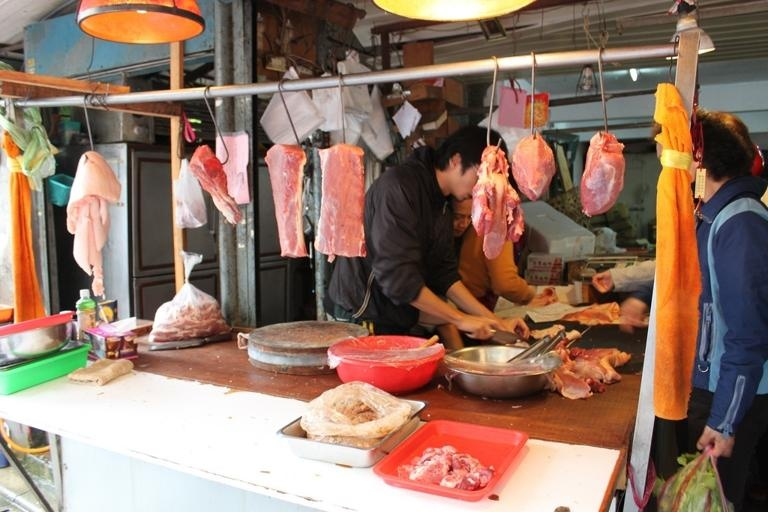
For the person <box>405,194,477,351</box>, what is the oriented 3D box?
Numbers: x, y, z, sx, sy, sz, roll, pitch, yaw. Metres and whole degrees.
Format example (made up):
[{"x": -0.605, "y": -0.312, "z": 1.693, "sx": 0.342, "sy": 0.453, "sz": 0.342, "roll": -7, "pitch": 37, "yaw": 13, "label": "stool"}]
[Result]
[{"x": 0.392, "y": 0.121, "z": 4.360, "sx": 0.388, "sy": 1.208, "sz": 0.327, "roll": -12, "pitch": 47, "yaw": -5, "label": "person"}]

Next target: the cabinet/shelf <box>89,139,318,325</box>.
[{"x": -2.521, "y": -0.004, "z": 8.447, "sx": 0.931, "sy": 2.758, "sz": 2.889, "roll": 9, "pitch": 12, "yaw": 29, "label": "cabinet/shelf"}]

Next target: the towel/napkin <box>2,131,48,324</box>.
[{"x": -2.908, "y": -0.233, "z": 4.932, "sx": 0.232, "sy": 1.480, "sz": 0.282, "roll": -7, "pitch": 11, "yaw": -29, "label": "towel/napkin"}]

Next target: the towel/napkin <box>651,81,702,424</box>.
[{"x": 1.455, "y": -0.027, "z": 3.060, "sx": 0.231, "sy": 1.617, "sz": 0.326, "roll": 2, "pitch": 10, "yaw": 23, "label": "towel/napkin"}]
